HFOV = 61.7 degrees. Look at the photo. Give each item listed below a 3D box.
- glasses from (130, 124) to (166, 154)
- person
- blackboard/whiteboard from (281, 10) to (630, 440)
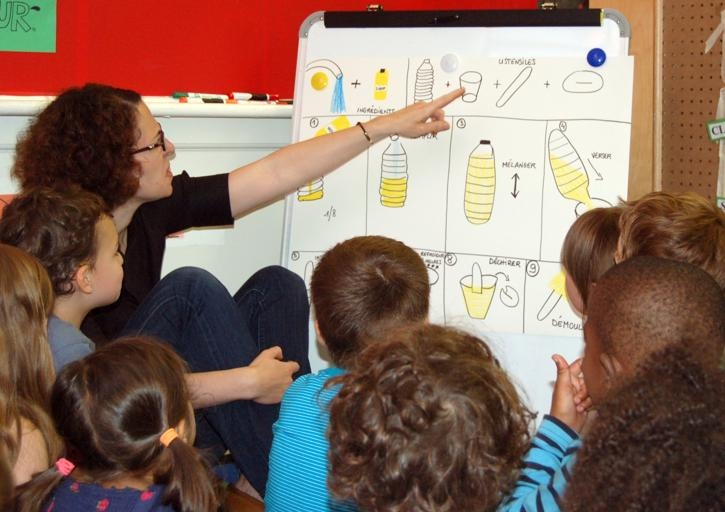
[{"bbox_3d":[-0.687,-0.373,1.930,0.084,0.026,0.086,-11,15,4],"label":"glasses"},{"bbox_3d":[-0.518,0.073,1.933,1.299,1.160,0.474,4,1,6],"label":"person"},{"bbox_3d":[0.319,-0.101,1.809,1.243,1.714,0.126,0,-2,14],"label":"blackboard/whiteboard"}]
